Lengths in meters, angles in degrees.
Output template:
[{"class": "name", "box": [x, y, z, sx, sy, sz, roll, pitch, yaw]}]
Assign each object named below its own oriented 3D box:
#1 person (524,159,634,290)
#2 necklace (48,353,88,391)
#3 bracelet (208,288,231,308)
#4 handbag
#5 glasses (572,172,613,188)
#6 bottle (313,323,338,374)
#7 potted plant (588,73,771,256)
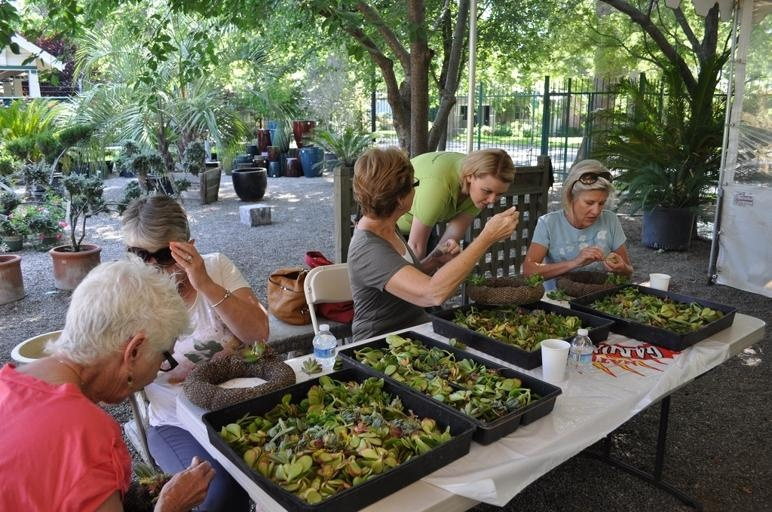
[{"class": "person", "box": [1.444, -0.275, 3.767, 0.818, 0.868, 0.565, -1, 10, 5]}, {"class": "necklace", "box": [-1.199, 0.436, 1.925, 0.142, 0.076, 0.109, 45, 21, 16]}, {"class": "bracelet", "box": [-0.919, 0.243, 2.805, 0.093, 0.027, 0.100, -6, 47, 51]}, {"class": "handbag", "box": [-0.690, 0.283, 3.911, 0.477, 0.673, 0.686, -8, 17, -36]}, {"class": "glasses", "box": [1.564, -0.575, 3.744, 0.278, 0.094, 0.107, -3, 10, -11]}, {"class": "bottle", "box": [-0.309, 0.471, 2.606, 0.185, 0.217, 0.180, -5, 8, -24]}, {"class": "potted plant", "box": [5.043, -1.606, 8.915, 2.527, 2.916, 2.726, 1, 5, 11]}]
